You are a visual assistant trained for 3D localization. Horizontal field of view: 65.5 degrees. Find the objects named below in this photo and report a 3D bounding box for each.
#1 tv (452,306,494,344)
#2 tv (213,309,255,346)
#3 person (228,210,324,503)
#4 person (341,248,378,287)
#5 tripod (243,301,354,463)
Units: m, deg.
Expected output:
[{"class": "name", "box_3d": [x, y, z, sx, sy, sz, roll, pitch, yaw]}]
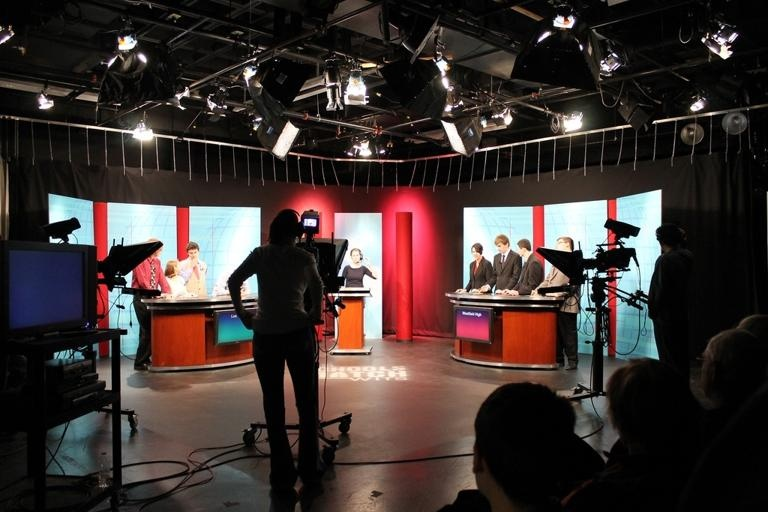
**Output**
[{"class": "tv", "box_3d": [1.400, 1.053, 9.271, 0.085, 0.479, 0.631, -3, 2, -41]}, {"class": "tv", "box_3d": [-2.122, 0.969, 8.209, 0.113, 0.610, 0.855, -4, -5, 37]}, {"class": "person", "box_3d": [-0.913, 0.840, 5.280, 0.736, 2.476, 0.567, -2, 7, -13]}, {"class": "person", "box_3d": [-0.474, 0.222, 10.823, 0.668, 1.183, 0.307, 2, -28, -7]}, {"class": "tripod", "box_3d": [-0.804, 1.440, 6.681, 1.477, 1.803, 1.175, 9, -13, -34]}]
